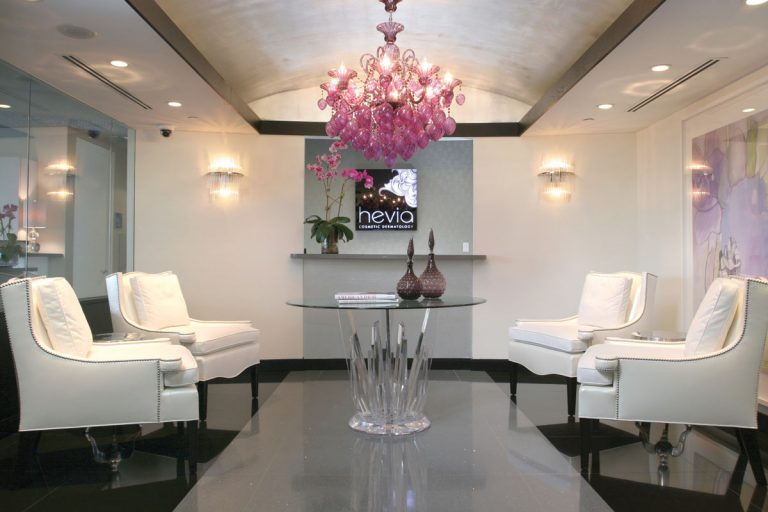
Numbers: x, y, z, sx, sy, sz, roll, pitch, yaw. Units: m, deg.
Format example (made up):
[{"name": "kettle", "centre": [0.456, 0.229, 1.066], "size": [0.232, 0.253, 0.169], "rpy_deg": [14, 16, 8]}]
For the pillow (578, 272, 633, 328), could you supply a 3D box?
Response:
[{"name": "pillow", "centre": [2.253, 0.433, 5.761], "size": [0.318, 0.576, 0.602], "rpy_deg": [4, 3, -42]}]

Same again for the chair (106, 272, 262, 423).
[{"name": "chair", "centre": [-1.999, 0.790, 5.411], "size": [1.227, 1.232, 0.974], "rpy_deg": [0, 0, 14]}]

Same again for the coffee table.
[{"name": "coffee table", "centre": [0.056, 1.012, 5.189], "size": [1.474, 0.876, 1.447], "rpy_deg": [1, -7, -15]}]

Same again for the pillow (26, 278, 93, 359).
[{"name": "pillow", "centre": [-2.595, 0.517, 4.478], "size": [0.381, 0.671, 0.750], "rpy_deg": [5, -2, -19]}]

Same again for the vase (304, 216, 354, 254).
[{"name": "vase", "centre": [-0.675, -0.278, 6.719], "size": [0.529, 0.350, 0.517], "rpy_deg": [-1, -1, -22]}]

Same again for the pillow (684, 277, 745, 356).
[{"name": "pillow", "centre": [2.639, 0.481, 4.364], "size": [0.217, 0.398, 0.555], "rpy_deg": [5, -12, 20]}]

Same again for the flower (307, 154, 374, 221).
[{"name": "flower", "centre": [-0.628, -0.847, 6.977], "size": [0.882, 0.851, 0.718], "rpy_deg": [16, 25, 36]}]

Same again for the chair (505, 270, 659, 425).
[{"name": "chair", "centre": [2.064, 0.832, 5.616], "size": [1.215, 1.299, 0.967], "rpy_deg": [1, 0, -22]}]

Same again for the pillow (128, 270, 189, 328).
[{"name": "pillow", "centre": [-2.238, 0.439, 5.482], "size": [0.287, 0.537, 0.577], "rpy_deg": [11, 6, 23]}]

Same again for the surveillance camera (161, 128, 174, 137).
[{"name": "surveillance camera", "centre": [-2.633, -1.499, 6.640], "size": [0.104, 0.078, 0.107], "rpy_deg": [-1, -2, -4]}]

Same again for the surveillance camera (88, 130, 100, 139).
[{"name": "surveillance camera", "centre": [-3.172, -1.337, 6.007], "size": [0.070, 0.028, 0.081], "rpy_deg": [1, -10, -10]}]
